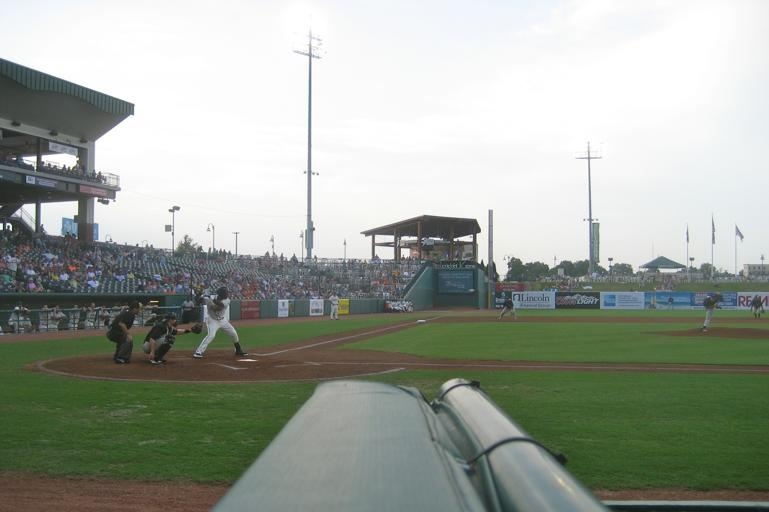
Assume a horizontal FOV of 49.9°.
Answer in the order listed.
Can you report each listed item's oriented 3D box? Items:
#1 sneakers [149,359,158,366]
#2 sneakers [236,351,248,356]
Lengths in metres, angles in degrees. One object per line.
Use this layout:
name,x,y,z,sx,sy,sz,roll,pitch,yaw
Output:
sneakers,-7.889,3.636,28.257,0.353,0.202,0.110,-5,0,7
sneakers,-5.175,3.570,30.166,0.433,0.155,0.132,1,2,-16
